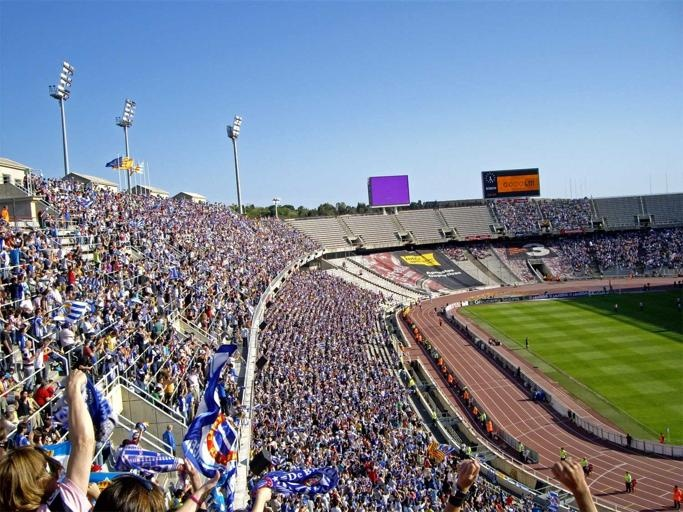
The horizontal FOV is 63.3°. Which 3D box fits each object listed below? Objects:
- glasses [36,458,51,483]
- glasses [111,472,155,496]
[{"bbox_3d":[-3.030,2.203,5.705,0.061,0.178,0.162,-5,3,-12],"label":"glasses"},{"bbox_3d":[-2.070,2.270,5.531,0.383,0.143,0.138,-3,3,7],"label":"glasses"}]
